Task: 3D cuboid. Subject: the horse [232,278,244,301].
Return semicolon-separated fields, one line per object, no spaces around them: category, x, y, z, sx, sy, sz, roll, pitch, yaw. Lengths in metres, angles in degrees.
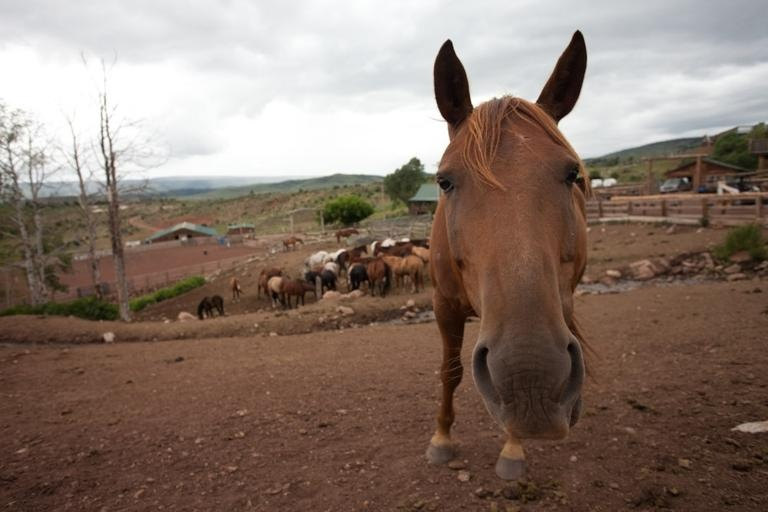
horse;-7.496;1.582;26.628;0.488;1.038;2.066;0;3;-14

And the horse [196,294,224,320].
horse;-7.395;2.188;22.422;0.903;1.154;2.754;0;3;-15
